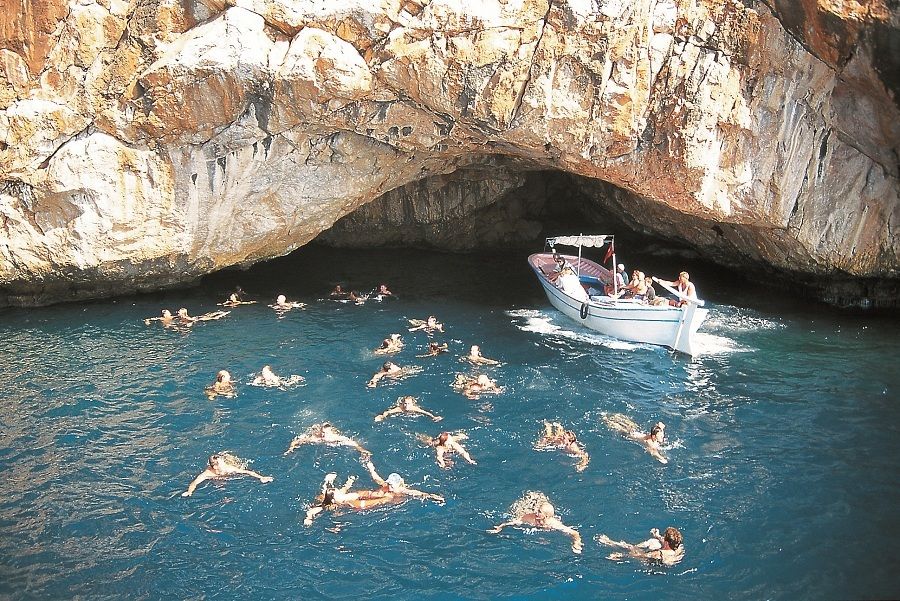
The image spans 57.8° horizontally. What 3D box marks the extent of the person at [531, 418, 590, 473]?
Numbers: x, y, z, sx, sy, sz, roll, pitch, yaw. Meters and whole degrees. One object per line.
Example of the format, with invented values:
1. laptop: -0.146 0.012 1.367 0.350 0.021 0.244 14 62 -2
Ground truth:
1. person: 3.163 4.113 23.129 0.898 0.498 1.256 -22 37 -21

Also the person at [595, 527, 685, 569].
1. person: 4.793 6.188 20.222 1.477 0.606 1.055 -1 16 14

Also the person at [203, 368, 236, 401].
1. person: -7.128 2.734 25.632 0.713 0.851 0.336 -2 -8 -11

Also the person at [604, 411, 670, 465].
1. person: 5.323 4.020 23.687 0.764 0.920 2.113 -13 21 -38

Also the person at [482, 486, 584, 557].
1. person: 2.276 5.690 20.940 2.233 0.893 1.253 1 12 15

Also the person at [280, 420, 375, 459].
1. person: -3.419 3.970 23.194 1.524 0.335 0.987 7 20 32

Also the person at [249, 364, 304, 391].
1. person: -5.534 2.449 26.087 1.698 0.536 0.973 -1 11 4
